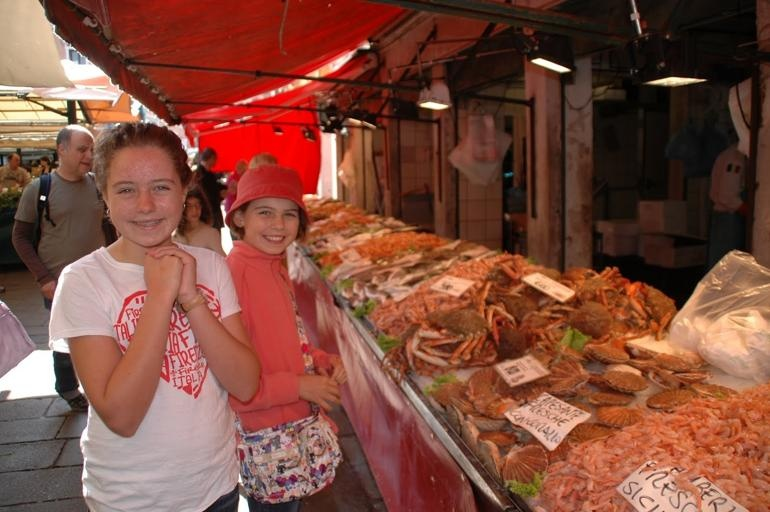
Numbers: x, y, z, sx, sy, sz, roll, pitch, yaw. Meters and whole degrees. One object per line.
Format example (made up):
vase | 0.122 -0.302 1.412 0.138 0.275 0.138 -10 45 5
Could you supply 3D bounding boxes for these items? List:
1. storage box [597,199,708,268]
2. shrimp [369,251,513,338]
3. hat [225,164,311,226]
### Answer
storage box | 4.646 -0.341 8.897 0.550 0.641 1.684 -2 2 -4
shrimp | 0.363 0.236 3.312 0.817 0.110 0.511 -27 7 -18
hat | -0.676 -0.351 2.748 0.402 0.181 0.361 -13 -9 27
